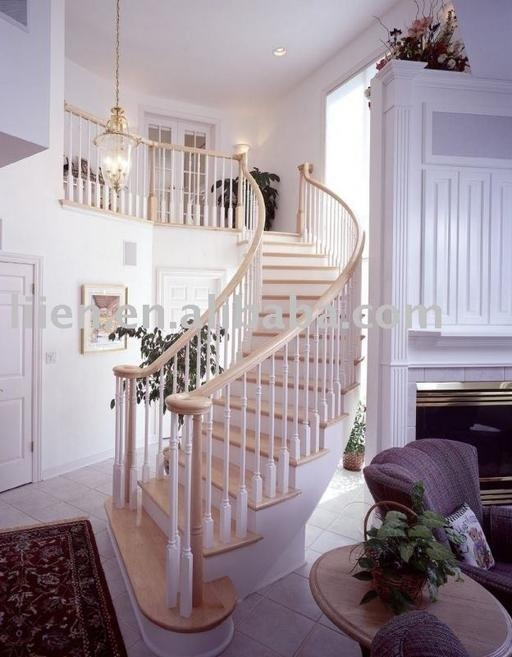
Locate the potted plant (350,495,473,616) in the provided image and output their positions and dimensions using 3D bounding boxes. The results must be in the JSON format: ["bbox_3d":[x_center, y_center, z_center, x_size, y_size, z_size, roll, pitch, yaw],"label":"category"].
[{"bbox_3d":[0.493,0.735,1.737,0.256,0.305,0.407,1,-3,-4],"label":"potted plant"}]

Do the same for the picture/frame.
[{"bbox_3d":[-1.409,-0.105,4.660,0.064,0.824,0.695,1,0,30],"label":"picture/frame"}]

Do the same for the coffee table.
[{"bbox_3d":[0.474,0.884,1.642,0.390,0.290,0.422,-4,17,-31],"label":"coffee table"}]
